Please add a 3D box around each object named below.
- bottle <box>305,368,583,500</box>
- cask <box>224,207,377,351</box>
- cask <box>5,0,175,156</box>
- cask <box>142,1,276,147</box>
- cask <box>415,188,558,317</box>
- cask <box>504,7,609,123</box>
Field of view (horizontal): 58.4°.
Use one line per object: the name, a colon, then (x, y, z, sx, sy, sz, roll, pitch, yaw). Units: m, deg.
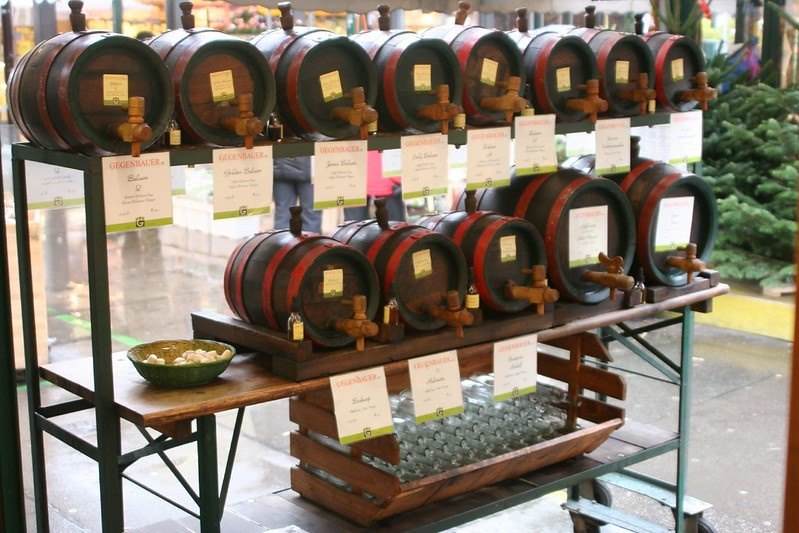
bottle: (0.364, 0.832, 3.864, 1.387, 0.364, 0.455, -9, 13, -37)
cask: (-0.462, 0.050, 3.238, 0.736, 0.621, 0.392, 5, 13, 30)
cask: (-1.213, -0.662, 2.824, 0.590, 0.520, 0.805, -4, 11, -44)
cask: (-0.656, -0.826, 3.084, 0.540, 0.493, 0.728, -20, 22, -34)
cask: (0.480, -0.103, 3.711, 0.660, 0.604, 0.874, -4, 13, -36)
cask: (0.845, -1.041, 3.893, 0.531, 0.475, 0.696, 5, 8, -31)
